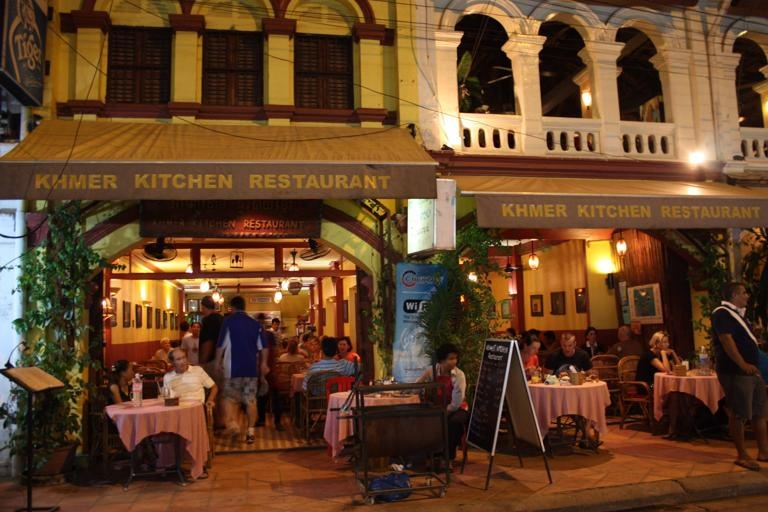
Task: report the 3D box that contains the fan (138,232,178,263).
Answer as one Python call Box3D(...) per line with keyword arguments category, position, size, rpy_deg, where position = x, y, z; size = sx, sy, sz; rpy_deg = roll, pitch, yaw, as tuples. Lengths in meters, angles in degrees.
Box3D(category="fan", position=(-4.856, -0.142, 16.000), size=(0.741, 0.781, 0.765), rpy_deg=(8, 11, 16))

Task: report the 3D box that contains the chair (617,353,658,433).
Box3D(category="chair", position=(5.118, 2.809, 15.157), size=(0.629, 1.397, 0.945), rpy_deg=(0, 1, 2))

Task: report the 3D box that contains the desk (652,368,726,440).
Box3D(category="desk", position=(5.564, 2.664, 13.881), size=(1.320, 1.248, 1.358), rpy_deg=(0, 1, -19))

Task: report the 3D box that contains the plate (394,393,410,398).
Box3D(category="plate", position=(0.312, 2.319, 12.332), size=(0.251, 0.042, 0.163), rpy_deg=(-1, 4, 12))

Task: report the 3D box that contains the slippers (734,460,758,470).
Box3D(category="slippers", position=(5.747, 3.292, 11.749), size=(0.353, 0.118, 0.233), rpy_deg=(1, 5, 29))

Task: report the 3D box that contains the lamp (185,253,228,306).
Box3D(category="lamp", position=(-5.869, 0.755, 24.661), size=(1.618, 2.268, 1.091), rpy_deg=(3, -5, 6))

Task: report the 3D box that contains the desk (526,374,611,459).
Box3D(category="desk", position=(3.350, 2.891, 13.602), size=(1.614, 1.301, 1.614), rpy_deg=(0, -8, -11))

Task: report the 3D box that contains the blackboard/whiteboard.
Box3D(category="blackboard/whiteboard", position=(1.710, 2.185, 11.868), size=(0.521, 1.744, 0.923), rpy_deg=(-3, 4, -22))

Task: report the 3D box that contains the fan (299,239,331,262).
Box3D(category="fan", position=(-1.686, -0.111, 17.618), size=(0.515, 0.442, 0.836), rpy_deg=(0, 8, 1))

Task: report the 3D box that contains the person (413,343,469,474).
Box3D(category="person", position=(0.948, 2.424, 12.208), size=(1.009, 1.878, 1.066), rpy_deg=(0, 2, 6))
